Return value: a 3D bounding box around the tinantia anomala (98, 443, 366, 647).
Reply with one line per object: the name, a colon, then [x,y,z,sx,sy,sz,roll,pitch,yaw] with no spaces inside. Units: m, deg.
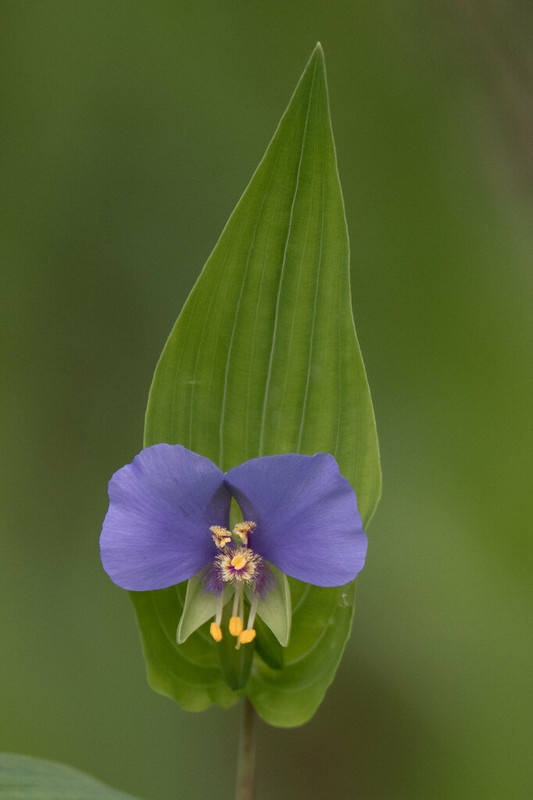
tinantia anomala: [-0.021,0.055,0.443,0.120,0.140,0.064,2,-8,2]
